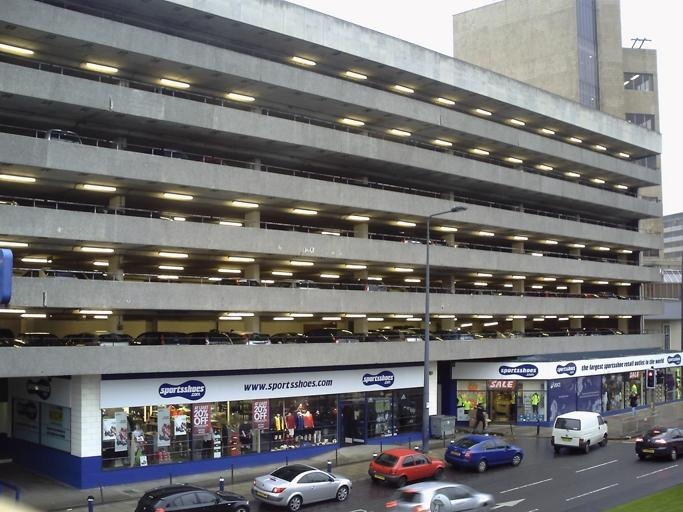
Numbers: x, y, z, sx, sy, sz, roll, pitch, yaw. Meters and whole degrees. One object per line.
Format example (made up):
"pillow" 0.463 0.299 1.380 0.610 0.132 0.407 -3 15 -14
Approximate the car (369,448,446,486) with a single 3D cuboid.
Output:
"car" 3.924 12.528 58.773 3.726 1.615 2.102 -2 2 -33

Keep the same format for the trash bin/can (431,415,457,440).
"trash bin/can" 7.120 12.213 69.827 1.587 1.582 1.627 -5 -9 39

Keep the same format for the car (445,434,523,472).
"car" 9.097 12.452 62.259 4.664 1.633 2.050 0 -2 -31
